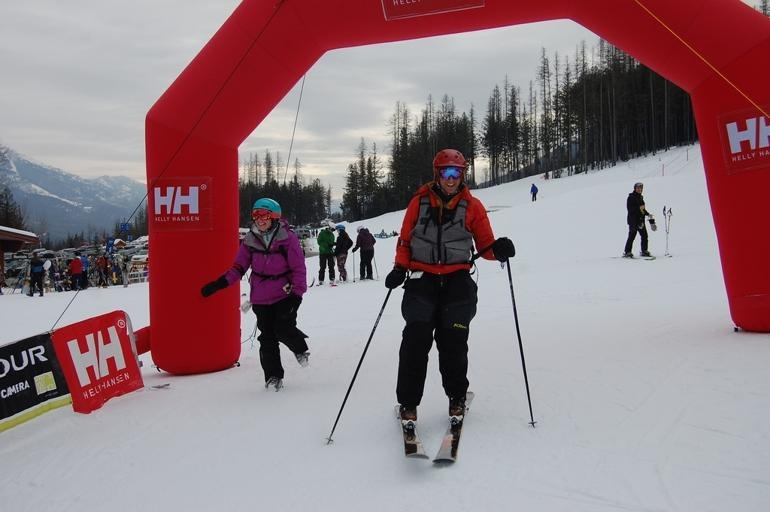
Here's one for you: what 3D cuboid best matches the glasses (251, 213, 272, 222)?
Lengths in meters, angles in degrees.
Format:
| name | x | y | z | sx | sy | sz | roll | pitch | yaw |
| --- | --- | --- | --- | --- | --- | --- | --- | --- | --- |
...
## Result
| name | x | y | z | sx | sy | sz | roll | pitch | yaw |
| --- | --- | --- | --- | --- | --- | --- | --- | --- | --- |
| glasses | -1.552 | -0.467 | 6.862 | 0.242 | 0.117 | 0.089 | -7 | 6 | -15 |

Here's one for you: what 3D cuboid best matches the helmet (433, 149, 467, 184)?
| name | x | y | z | sx | sy | sz | roll | pitch | yaw |
| --- | --- | --- | --- | --- | --- | --- | --- | --- | --- |
| helmet | 0.714 | -0.971 | 5.871 | 0.264 | 0.362 | 0.364 | 2 | -2 | -1 |

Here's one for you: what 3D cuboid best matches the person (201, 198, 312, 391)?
| name | x | y | z | sx | sy | sz | roll | pitch | yaw |
| --- | --- | --- | --- | --- | --- | --- | --- | --- | --- |
| person | -1.545 | 0.485 | 6.948 | 1.076 | 2.417 | 0.731 | -5 | 5 | -4 |

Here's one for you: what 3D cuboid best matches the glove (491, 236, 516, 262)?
| name | x | y | z | sx | sy | sz | roll | pitch | yaw |
| --- | --- | --- | --- | --- | --- | --- | --- | --- | --- |
| glove | 1.303 | -0.061 | 5.778 | 0.189 | 0.285 | 0.138 | 8 | 7 | 31 |

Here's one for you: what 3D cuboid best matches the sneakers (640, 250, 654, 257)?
| name | x | y | z | sx | sy | sz | roll | pitch | yaw |
| --- | --- | --- | --- | --- | --- | --- | --- | --- | --- |
| sneakers | 6.712 | -0.008 | 13.705 | 0.326 | 0.162 | 0.110 | -1 | 6 | -37 |

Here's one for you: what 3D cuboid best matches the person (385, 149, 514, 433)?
| name | x | y | z | sx | sy | sz | roll | pitch | yaw |
| --- | --- | --- | --- | --- | --- | --- | --- | --- | --- |
| person | 0.612 | 0.298 | 5.578 | 1.159 | 2.757 | 0.815 | -5 | 5 | -2 |

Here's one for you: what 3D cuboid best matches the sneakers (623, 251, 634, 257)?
| name | x | y | z | sx | sy | sz | roll | pitch | yaw |
| --- | --- | --- | --- | --- | --- | --- | --- | --- | --- |
| sneakers | 6.416 | -0.016 | 14.114 | 0.116 | 0.152 | 0.308 | 1 | -3 | -6 |

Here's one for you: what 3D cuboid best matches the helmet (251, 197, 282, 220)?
| name | x | y | z | sx | sy | sz | roll | pitch | yaw |
| --- | --- | --- | --- | --- | --- | --- | --- | --- | --- |
| helmet | -1.541 | -0.632 | 6.907 | 0.238 | 0.282 | 0.333 | -6 | -23 | 34 |

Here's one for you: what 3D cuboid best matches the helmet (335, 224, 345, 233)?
| name | x | y | z | sx | sy | sz | roll | pitch | yaw |
| --- | --- | --- | --- | --- | --- | --- | --- | --- | --- |
| helmet | -1.448 | -0.907 | 17.546 | 0.287 | 0.317 | 0.385 | 1 | -14 | -9 |
